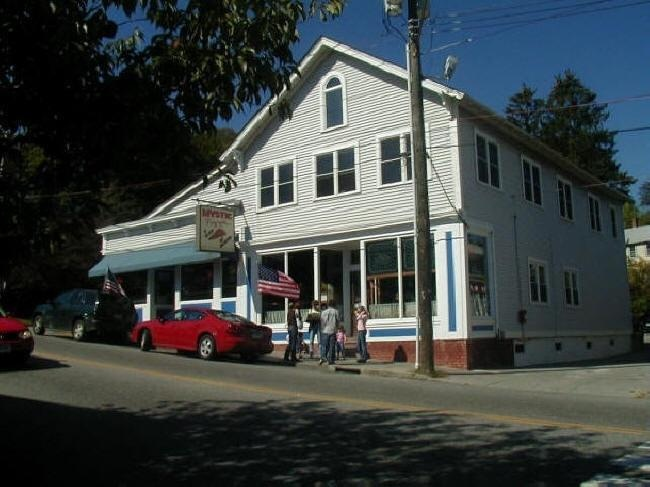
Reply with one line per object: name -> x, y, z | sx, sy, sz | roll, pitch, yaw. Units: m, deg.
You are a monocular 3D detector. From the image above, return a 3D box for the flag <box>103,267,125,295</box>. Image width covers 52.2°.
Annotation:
flag -> -8.534, 1.523, 26.716 | 0.896, 1.005, 0.103 | 26, -41, -37

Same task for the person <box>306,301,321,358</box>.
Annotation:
person -> -0.377, 2.814, 21.621 | 0.435, 1.907, 1.384 | 0, 0, -1

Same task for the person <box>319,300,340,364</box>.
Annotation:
person -> 0.110, 2.708, 19.843 | 0.585, 1.793, 1.141 | 0, 0, 2

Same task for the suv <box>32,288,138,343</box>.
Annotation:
suv -> -8.728, 2.469, 23.624 | 4.271, 1.742, 2.084 | 0, 0, 30
